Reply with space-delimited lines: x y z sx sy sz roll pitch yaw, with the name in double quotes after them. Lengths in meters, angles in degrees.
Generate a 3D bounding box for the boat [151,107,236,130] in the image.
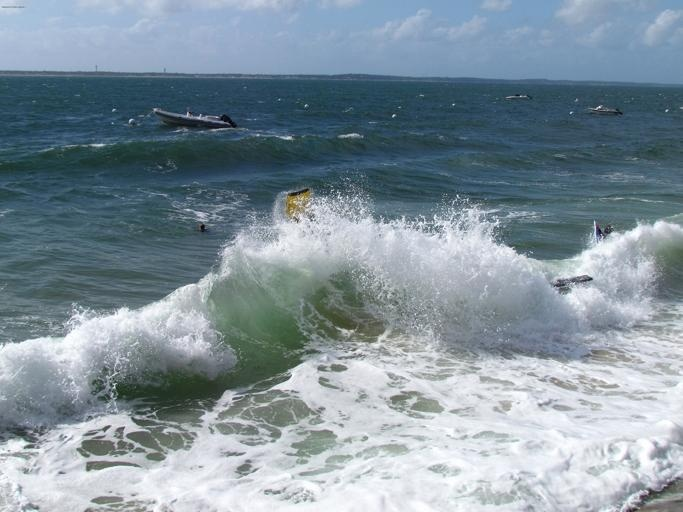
-9.977 -9.295 51.892 5.356 1.162 2.178 9 17 36 "boat"
